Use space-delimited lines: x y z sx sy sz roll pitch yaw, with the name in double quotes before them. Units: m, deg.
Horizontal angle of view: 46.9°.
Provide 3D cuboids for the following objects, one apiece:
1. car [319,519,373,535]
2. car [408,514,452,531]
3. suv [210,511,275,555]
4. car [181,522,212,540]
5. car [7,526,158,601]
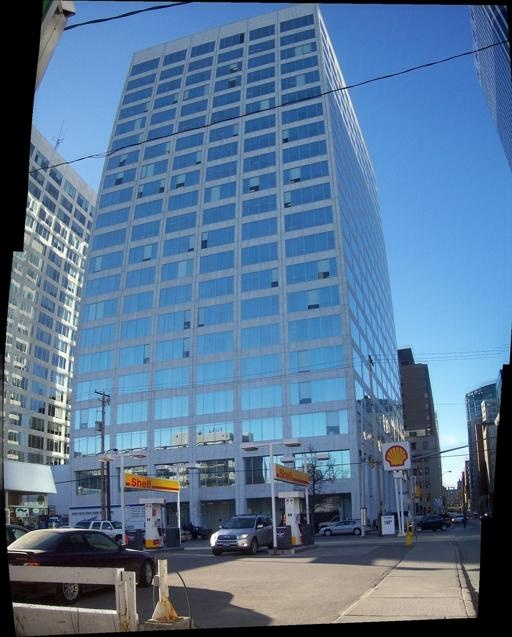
"car" 6.351 15.949 44.699 2.786 0.943 1.309 -3 -24 11
"car" 13.765 16.210 46.455 1.940 1.117 3.210 -13 -17 32
"suv" -0.409 8.816 24.200 1.269 1.054 2.834 -8 -26 14
"car" -4.500 15.556 43.637 2.323 1.123 1.431 5 -21 -2
"car" -3.217 4.369 10.380 1.269 1.272 3.317 -9 -15 19
